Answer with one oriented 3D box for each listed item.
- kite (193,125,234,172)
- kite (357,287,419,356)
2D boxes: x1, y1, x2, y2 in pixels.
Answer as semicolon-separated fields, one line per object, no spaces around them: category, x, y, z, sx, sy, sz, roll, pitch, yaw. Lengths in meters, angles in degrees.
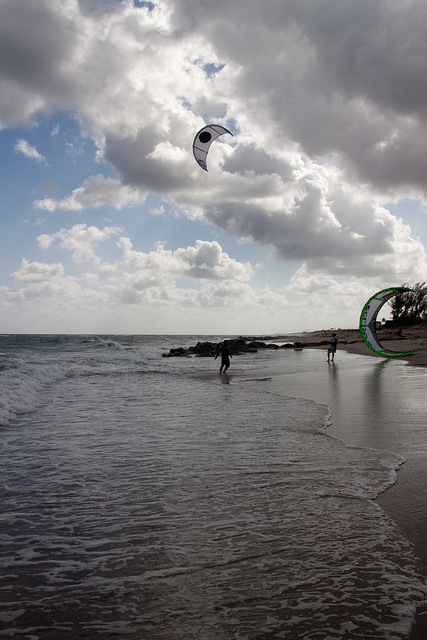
kite;-0.244;-7.486;22.501;1.189;1.670;1.508;0;0;-14
kite;8.696;0.278;26.766;1.919;2.516;4.764;0;0;19
